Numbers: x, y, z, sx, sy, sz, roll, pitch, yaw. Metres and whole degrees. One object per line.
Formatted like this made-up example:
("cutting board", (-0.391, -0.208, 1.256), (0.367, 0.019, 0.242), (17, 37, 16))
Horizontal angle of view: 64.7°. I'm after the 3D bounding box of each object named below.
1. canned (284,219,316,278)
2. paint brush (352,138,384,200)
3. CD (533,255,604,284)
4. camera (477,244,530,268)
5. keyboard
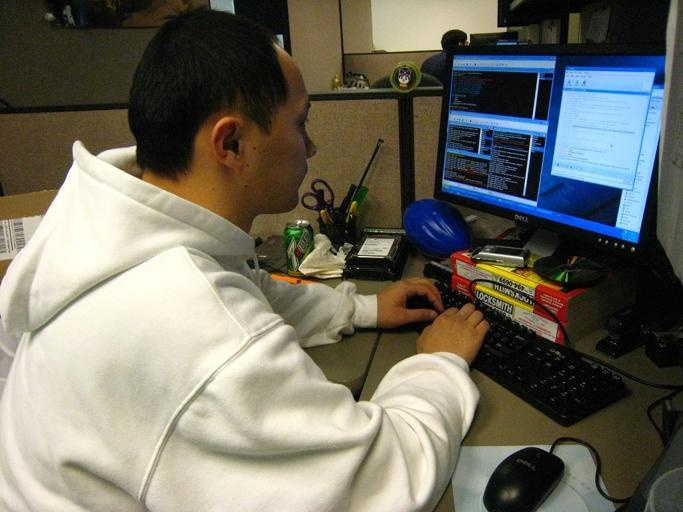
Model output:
("canned", (-0.121, -0.022, 1.466), (0.075, 0.139, 0.095), (11, 23, 39))
("paint brush", (0.078, -0.258, 1.562), (0.022, 0.185, 0.019), (22, 5, 2))
("CD", (0.457, 0.029, 1.080), (0.079, 0.023, 0.103), (-6, 20, -22))
("camera", (0.356, -0.006, 1.178), (0.084, 0.021, 0.052), (8, 32, 25))
("keyboard", (0.351, 0.203, 1.043), (0.138, 0.057, 0.412), (-19, 13, -11))
